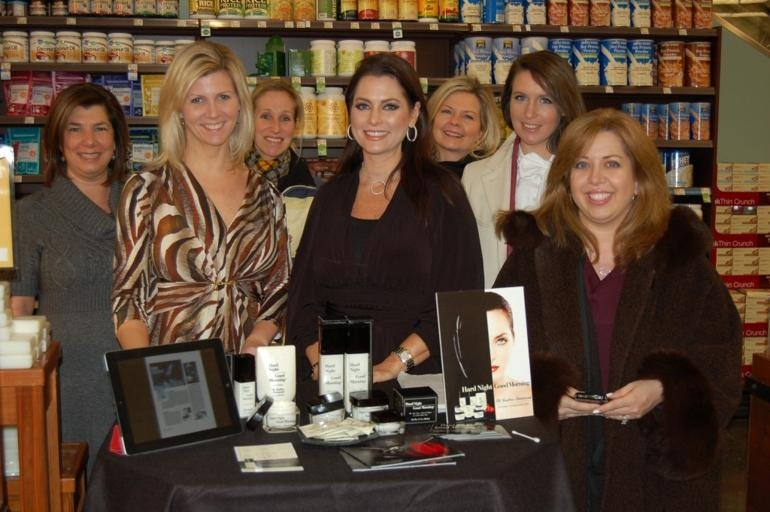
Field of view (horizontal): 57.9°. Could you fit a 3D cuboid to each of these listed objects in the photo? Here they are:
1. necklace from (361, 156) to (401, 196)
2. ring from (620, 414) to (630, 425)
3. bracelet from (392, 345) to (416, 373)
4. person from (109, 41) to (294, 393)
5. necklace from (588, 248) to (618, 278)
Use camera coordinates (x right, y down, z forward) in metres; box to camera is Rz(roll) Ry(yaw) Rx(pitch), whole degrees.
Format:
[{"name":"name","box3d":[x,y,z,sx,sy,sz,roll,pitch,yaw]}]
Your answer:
[{"name":"necklace","box3d":[-0.025,-0.358,3.223,0.153,0.169,0.205,1,-14,-1]},{"name":"ring","box3d":[0.950,0.653,2.761,0.044,0.044,0.011,0,14,6]},{"name":"bracelet","box3d":[0.082,0.424,2.936,0.071,0.091,0.094,-40,31,-4]},{"name":"person","box3d":[-0.800,-0.243,3.012,0.801,1.350,0.379,-6,5,-23]},{"name":"necklace","box3d":[0.914,0.035,2.924,0.110,0.123,0.036,-2,-2,4]}]
